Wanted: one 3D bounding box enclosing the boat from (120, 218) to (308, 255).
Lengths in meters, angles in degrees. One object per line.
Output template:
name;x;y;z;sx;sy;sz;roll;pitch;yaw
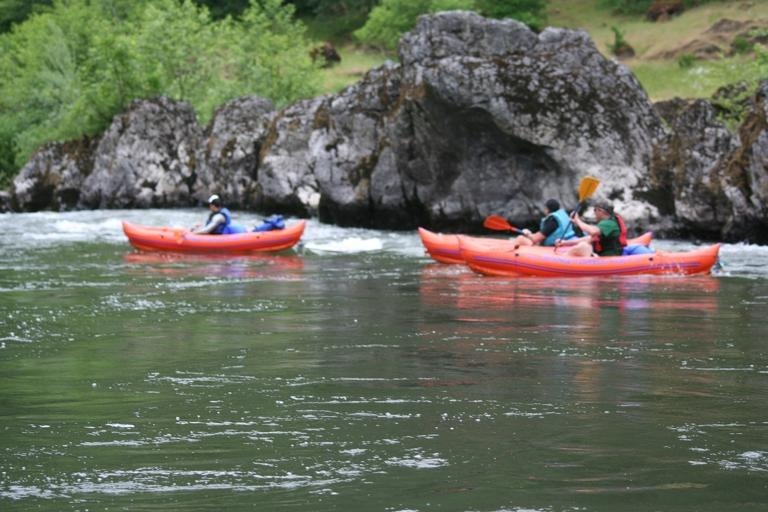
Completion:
boat;-4.962;-0.519;40.726;5.077;0.988;0.650;-1;6;-1

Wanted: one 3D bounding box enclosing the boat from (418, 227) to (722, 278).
boat;5.260;0.173;37.766;8.918;1.160;2.527;3;3;2
